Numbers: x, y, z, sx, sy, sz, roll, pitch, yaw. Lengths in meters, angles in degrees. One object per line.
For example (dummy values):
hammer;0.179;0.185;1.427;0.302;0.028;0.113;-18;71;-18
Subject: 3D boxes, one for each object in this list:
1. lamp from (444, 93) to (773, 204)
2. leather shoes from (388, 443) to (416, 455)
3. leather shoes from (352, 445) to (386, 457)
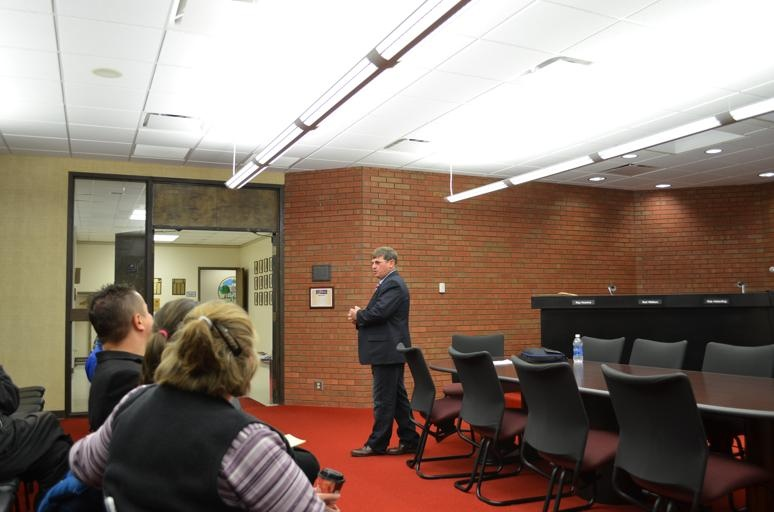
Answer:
lamp;2.530;-1.158;5.994;0.372;0.280;3.335;-2;-3;-41
leather shoes;0.174;2.048;5.493;0.353;0.111;0.107;3;-9;-7
leather shoes;-0.180;2.033;5.458;0.391;0.123;0.129;3;-9;-4
